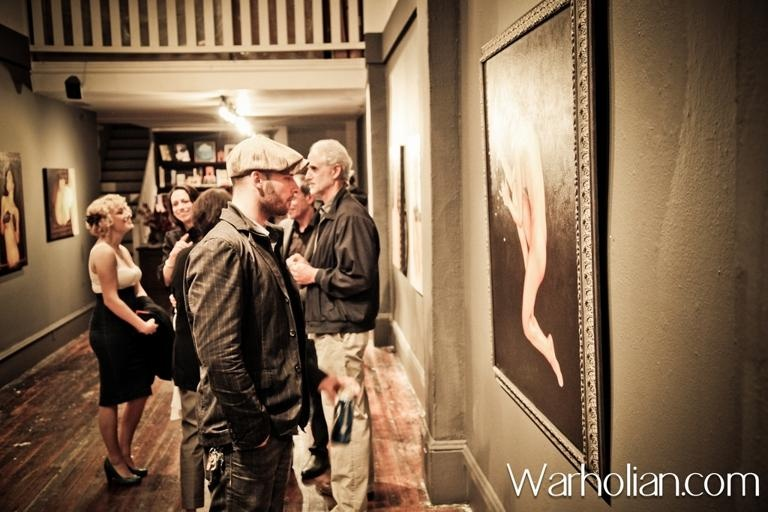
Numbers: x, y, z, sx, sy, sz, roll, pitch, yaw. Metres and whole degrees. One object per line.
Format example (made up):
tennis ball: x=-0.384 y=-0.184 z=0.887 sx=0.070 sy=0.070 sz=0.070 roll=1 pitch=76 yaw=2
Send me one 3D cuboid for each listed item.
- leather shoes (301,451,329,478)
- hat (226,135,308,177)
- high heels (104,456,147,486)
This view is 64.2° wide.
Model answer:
leather shoes: x=-0.485 y=1.492 z=4.386 sx=0.107 sy=0.189 sz=0.271 roll=-10 pitch=-9 yaw=24
hat: x=-0.524 y=-0.458 z=2.785 sx=0.357 sy=0.175 sz=0.268 roll=-4 pitch=12 yaw=-3
high heels: x=-1.849 y=1.520 z=4.389 sx=0.281 sy=0.140 sz=0.166 roll=4 pitch=3 yaw=-3
